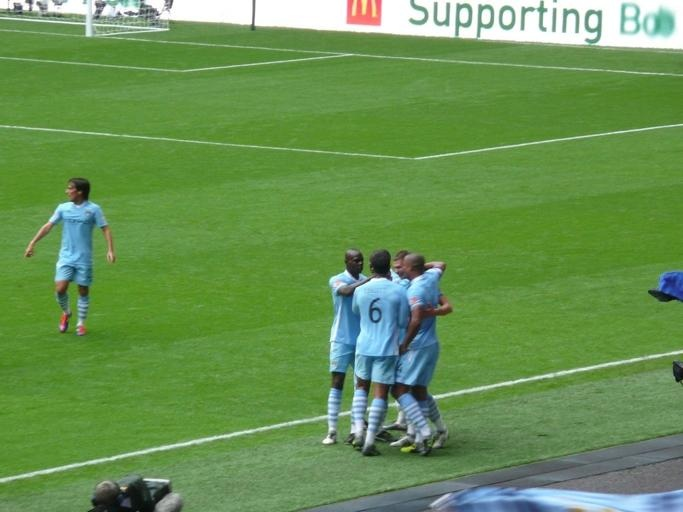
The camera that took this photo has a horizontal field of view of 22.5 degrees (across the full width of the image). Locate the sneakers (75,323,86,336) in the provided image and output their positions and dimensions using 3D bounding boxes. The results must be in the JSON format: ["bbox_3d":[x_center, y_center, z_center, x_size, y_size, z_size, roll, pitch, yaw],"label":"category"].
[{"bbox_3d":[-4.145,1.159,27.077,0.253,0.164,0.138,-2,11,-11],"label":"sneakers"}]

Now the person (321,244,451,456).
[{"bbox_3d":[0.345,1.257,24.381,1.262,2.726,1.110,-1,9,1],"label":"person"}]

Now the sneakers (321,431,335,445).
[{"bbox_3d":[-0.187,2.554,24.223,0.212,0.182,0.232,-1,8,-2],"label":"sneakers"}]

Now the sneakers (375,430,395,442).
[{"bbox_3d":[0.603,2.551,24.314,0.335,0.090,0.108,0,1,23],"label":"sneakers"}]

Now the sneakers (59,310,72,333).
[{"bbox_3d":[-4.442,1.028,27.261,0.175,0.341,0.183,2,-9,-16],"label":"sneakers"}]

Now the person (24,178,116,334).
[{"bbox_3d":[-4.267,-0.016,27.232,1.233,2.435,0.783,-2,10,-7],"label":"person"}]
